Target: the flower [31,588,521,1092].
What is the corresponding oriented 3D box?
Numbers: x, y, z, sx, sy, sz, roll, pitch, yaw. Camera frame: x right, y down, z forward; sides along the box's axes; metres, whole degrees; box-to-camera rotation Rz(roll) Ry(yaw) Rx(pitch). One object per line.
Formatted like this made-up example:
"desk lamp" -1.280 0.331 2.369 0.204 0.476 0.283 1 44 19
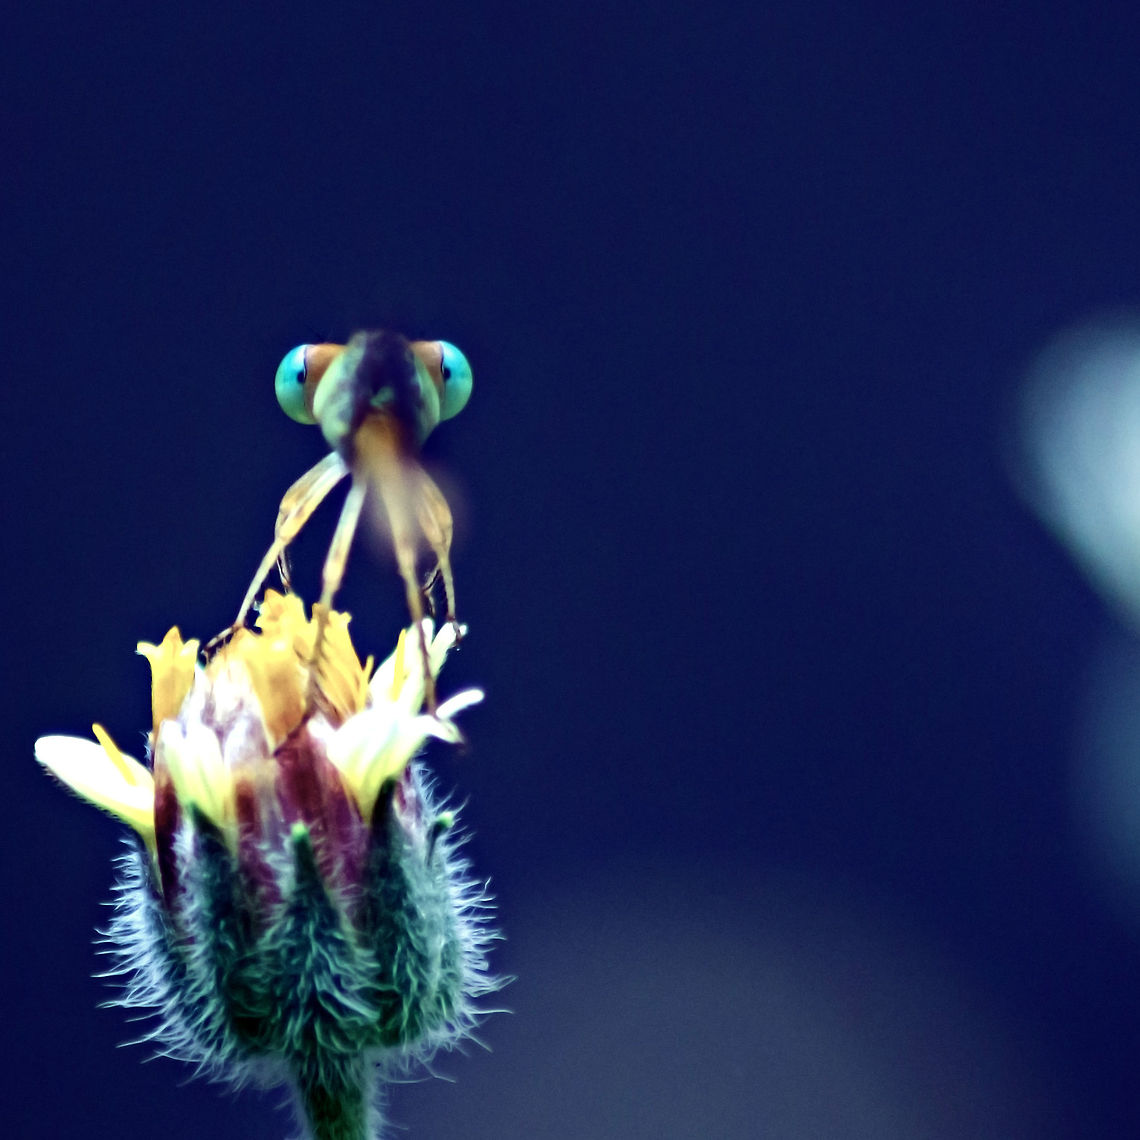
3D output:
"flower" -0.377 0.420 1.988 0.429 0.673 0.513 -4 -10 0
